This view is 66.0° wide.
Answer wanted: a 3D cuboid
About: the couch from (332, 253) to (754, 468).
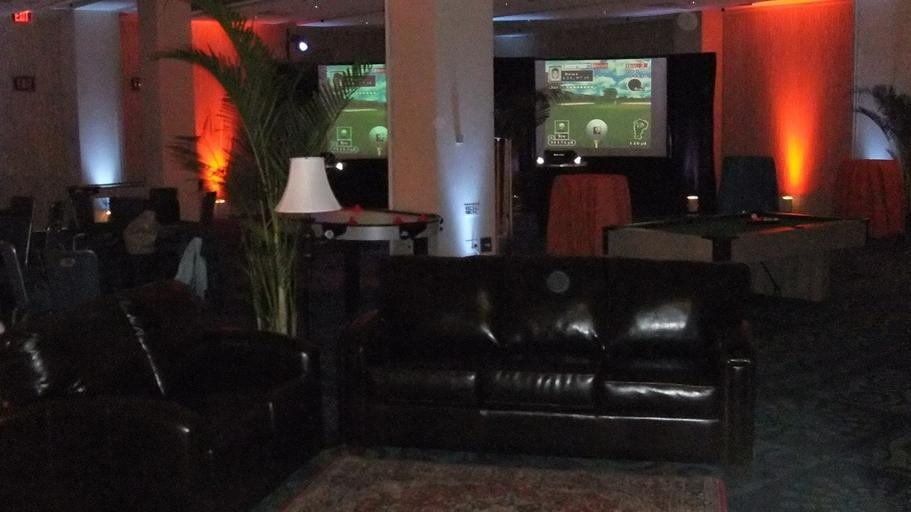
[{"bbox_3d":[0.720,0.763,5.520,2.945,1.278,1.207,1,15,13],"label":"couch"}]
